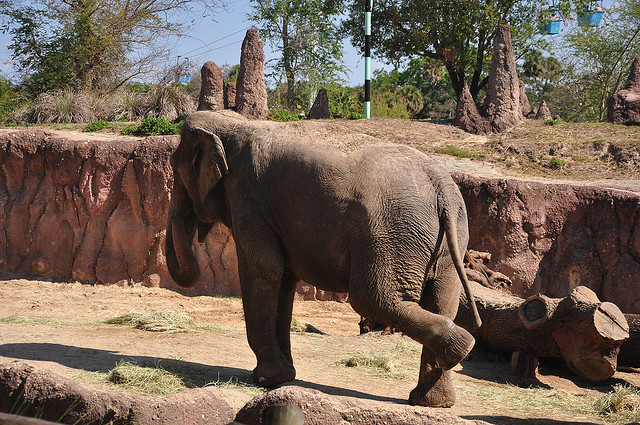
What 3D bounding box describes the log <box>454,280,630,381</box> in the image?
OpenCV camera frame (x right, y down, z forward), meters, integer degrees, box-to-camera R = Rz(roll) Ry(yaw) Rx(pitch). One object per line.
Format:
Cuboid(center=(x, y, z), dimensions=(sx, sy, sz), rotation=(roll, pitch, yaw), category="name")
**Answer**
Cuboid(center=(4.503, 2.688, 19.016), dimensions=(4.893, 2.134, 1.266), rotation=(-5, -19, 45), category="log")
